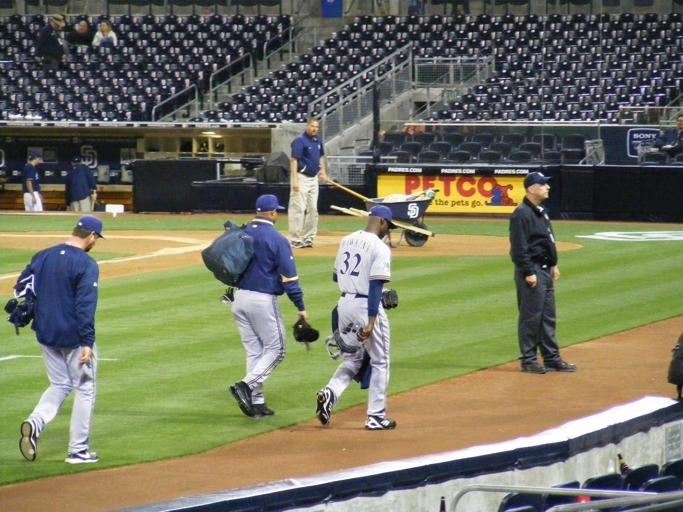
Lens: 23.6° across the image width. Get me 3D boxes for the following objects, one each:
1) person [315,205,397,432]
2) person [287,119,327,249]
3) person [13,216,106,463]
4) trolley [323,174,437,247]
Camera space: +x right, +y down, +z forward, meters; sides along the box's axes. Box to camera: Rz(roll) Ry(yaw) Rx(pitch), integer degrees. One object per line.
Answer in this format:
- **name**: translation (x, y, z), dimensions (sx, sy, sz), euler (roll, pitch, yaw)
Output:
- **person**: translation (0.278, 1.013, 26.474), dimensions (1.147, 3.583, 0.688), euler (-1, 7, 1)
- **person**: translation (-0.739, -1.578, 35.099), dimensions (0.738, 2.673, 1.100), euler (5, 6, 41)
- **person**: translation (-4.440, 1.537, 25.665), dimensions (1.286, 3.415, 0.739), euler (-2, 7, -8)
- **trolley**: translation (0.892, -0.850, 35.482), dimensions (3.274, 1.182, 1.074), euler (0, 7, -26)
